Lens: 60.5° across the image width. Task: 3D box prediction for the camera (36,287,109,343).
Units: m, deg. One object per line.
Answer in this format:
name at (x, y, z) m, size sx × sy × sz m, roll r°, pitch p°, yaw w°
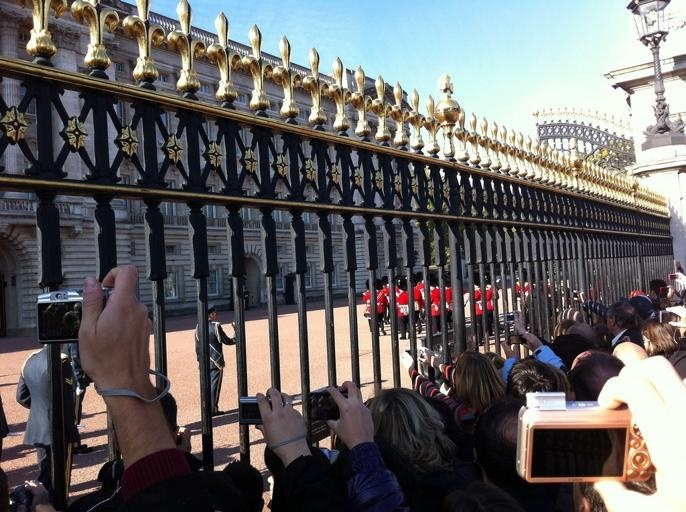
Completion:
camera at (-0.988, 0.206, 2.105) m, size 0.219 × 0.251 × 0.064 m, roll 0°, pitch 6°, yaw 0°
